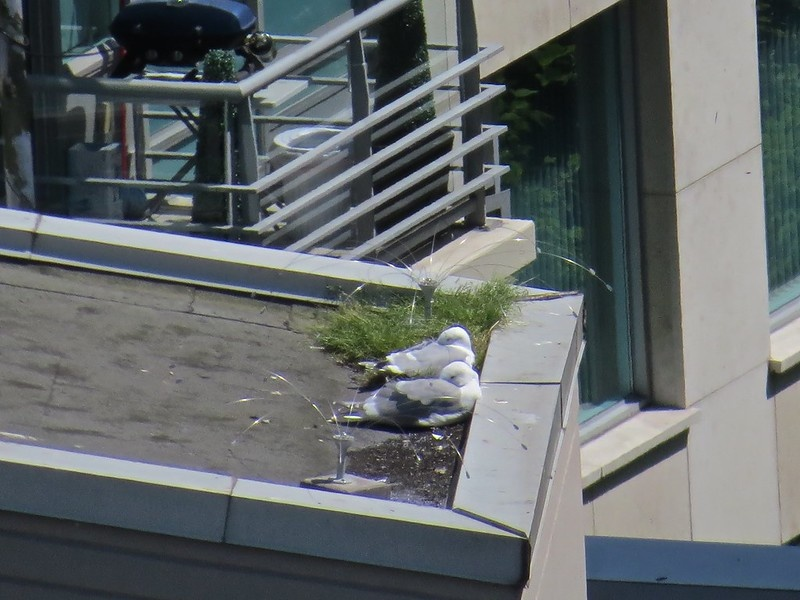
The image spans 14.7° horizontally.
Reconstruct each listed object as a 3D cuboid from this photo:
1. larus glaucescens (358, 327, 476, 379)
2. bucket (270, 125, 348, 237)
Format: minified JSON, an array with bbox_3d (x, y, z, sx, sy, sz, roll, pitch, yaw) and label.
[{"bbox_3d":[0.171,0.290,18.782,0.639,0.275,0.387,-9,28,5],"label":"larus glaucescens"},{"bbox_3d":[-0.539,-0.758,20.227,0.532,0.749,0.292,2,10,-9],"label":"bucket"}]
